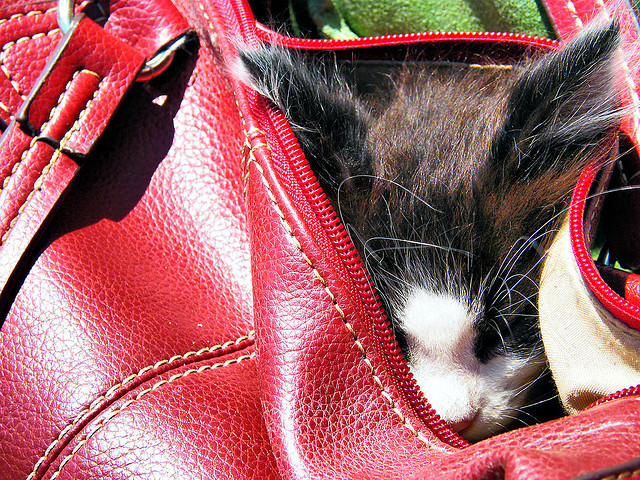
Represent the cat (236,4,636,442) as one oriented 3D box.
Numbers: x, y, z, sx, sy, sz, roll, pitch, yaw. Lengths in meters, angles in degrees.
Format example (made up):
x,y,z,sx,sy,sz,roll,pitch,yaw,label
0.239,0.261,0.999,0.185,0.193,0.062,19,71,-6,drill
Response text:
x,y,z,sx,sy,sz,roll,pitch,yaw,label
0.190,-0.040,1.171,0.424,0.642,0.216,-9,3,2,cat
